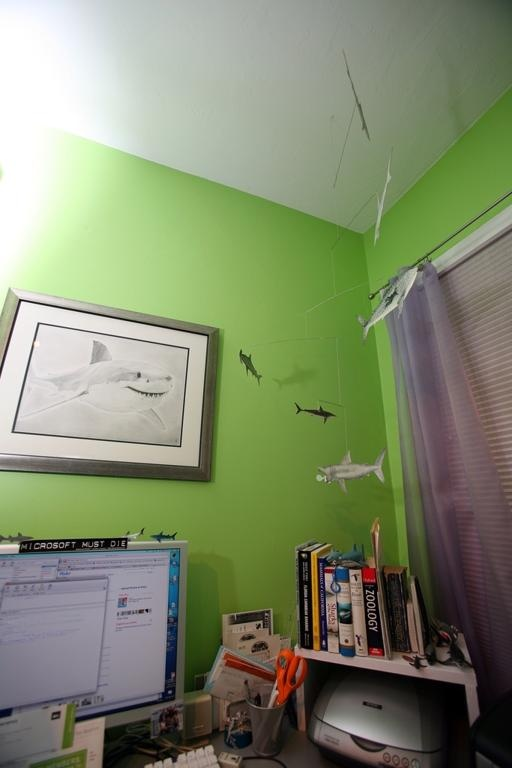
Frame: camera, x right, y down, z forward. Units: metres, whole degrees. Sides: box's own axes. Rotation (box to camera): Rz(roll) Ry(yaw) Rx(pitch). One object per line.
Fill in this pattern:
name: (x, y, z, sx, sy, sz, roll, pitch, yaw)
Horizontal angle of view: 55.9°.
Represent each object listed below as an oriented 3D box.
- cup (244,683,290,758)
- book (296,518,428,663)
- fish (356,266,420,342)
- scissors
cup: (0.038, 0.774, 1.109, 0.104, 0.145, 0.103, 2, -31, 1)
book: (0.265, 0.513, 1.241, 0.333, 0.312, 0.205, -7, -16, 25)
fish: (0.486, -0.294, 1.676, 0.173, 0.235, 0.337, -5, -17, 21)
scissors: (0.053, 0.687, 1.111, 0.069, 0.239, 0.092, 5, -7, -15)
